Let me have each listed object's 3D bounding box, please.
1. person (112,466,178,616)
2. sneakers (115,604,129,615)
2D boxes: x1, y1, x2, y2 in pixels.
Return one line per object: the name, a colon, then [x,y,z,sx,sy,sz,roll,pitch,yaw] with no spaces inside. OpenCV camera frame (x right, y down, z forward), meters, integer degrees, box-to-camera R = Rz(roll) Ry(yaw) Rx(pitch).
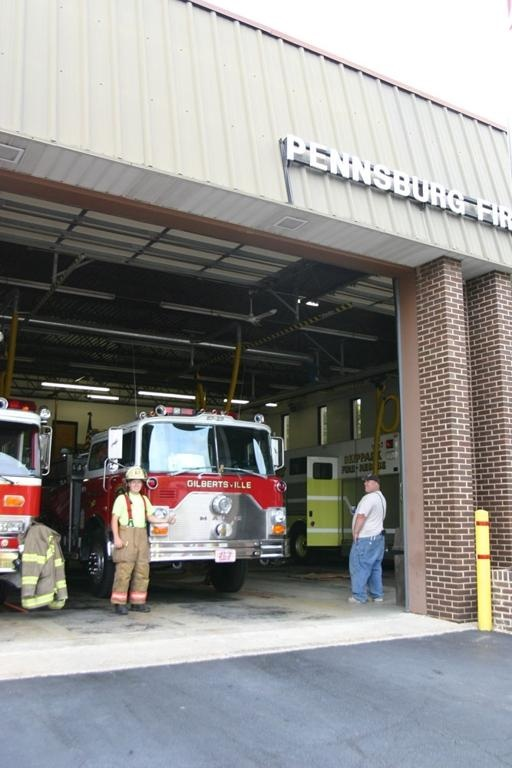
person: [-1.512,1.949,7.229,0.385,1.794,0.731,-2,-9,24]
sneakers: [-1.660,2.761,7.183,0.169,0.141,0.189,1,-8,1]
